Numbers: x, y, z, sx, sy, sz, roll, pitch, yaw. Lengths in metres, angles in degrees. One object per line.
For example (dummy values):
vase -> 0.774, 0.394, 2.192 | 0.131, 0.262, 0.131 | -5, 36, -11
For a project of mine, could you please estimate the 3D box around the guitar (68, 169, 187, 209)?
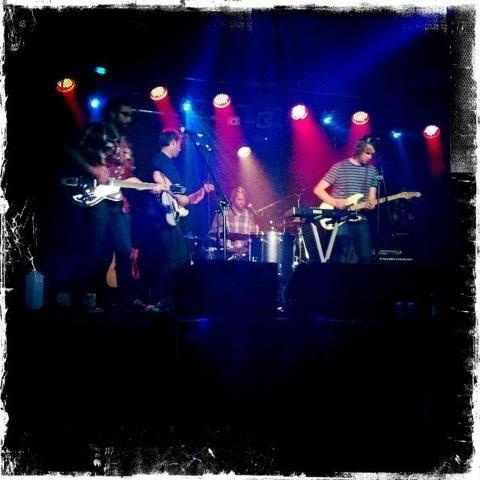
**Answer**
guitar -> -1.133, -0.472, 5.324 | 1.056, 0.258, 0.237 | -5, 14, -12

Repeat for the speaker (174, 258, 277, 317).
speaker -> -0.088, 0.280, 3.291 | 0.607, 0.317, 0.271 | 0, 14, 7

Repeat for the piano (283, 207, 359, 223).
piano -> 0.774, -0.234, 5.262 | 0.688, 0.188, 0.288 | -1, 14, 3

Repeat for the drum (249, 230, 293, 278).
drum -> 0.333, 0.142, 5.343 | 0.382, 0.429, 0.393 | 6, -10, -28

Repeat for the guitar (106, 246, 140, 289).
guitar -> -1.209, 0.315, 5.810 | 0.311, 0.489, 0.134 | -6, 9, -24
